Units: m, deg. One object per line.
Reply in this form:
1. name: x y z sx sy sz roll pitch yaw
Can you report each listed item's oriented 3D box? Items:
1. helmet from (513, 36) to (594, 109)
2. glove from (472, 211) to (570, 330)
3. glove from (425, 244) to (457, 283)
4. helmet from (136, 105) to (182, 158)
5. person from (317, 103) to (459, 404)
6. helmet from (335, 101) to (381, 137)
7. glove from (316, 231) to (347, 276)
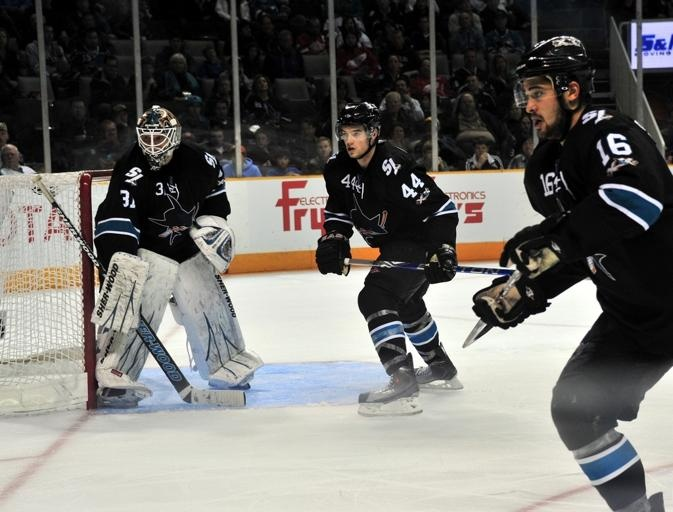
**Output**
1. helmet: 0.708 -0.598 2.708 0.277 0.217 0.219 -10 19 -8
2. glove: 0.577 0.047 2.574 0.234 0.361 0.116 37 22 5
3. glove: 0.475 0.043 3.798 0.144 0.173 0.237 -1 7 6
4. helmet: -0.877 -0.619 4.108 0.219 0.225 0.257 2 19 3
5. person: 0.247 -0.013 4.030 0.694 1.463 0.625 -1 8 7
6. helmet: 0.114 -0.691 4.147 0.144 0.168 0.193 -10 -17 41
7. glove: -0.014 -0.006 4.084 0.160 0.200 0.199 -2 7 0
